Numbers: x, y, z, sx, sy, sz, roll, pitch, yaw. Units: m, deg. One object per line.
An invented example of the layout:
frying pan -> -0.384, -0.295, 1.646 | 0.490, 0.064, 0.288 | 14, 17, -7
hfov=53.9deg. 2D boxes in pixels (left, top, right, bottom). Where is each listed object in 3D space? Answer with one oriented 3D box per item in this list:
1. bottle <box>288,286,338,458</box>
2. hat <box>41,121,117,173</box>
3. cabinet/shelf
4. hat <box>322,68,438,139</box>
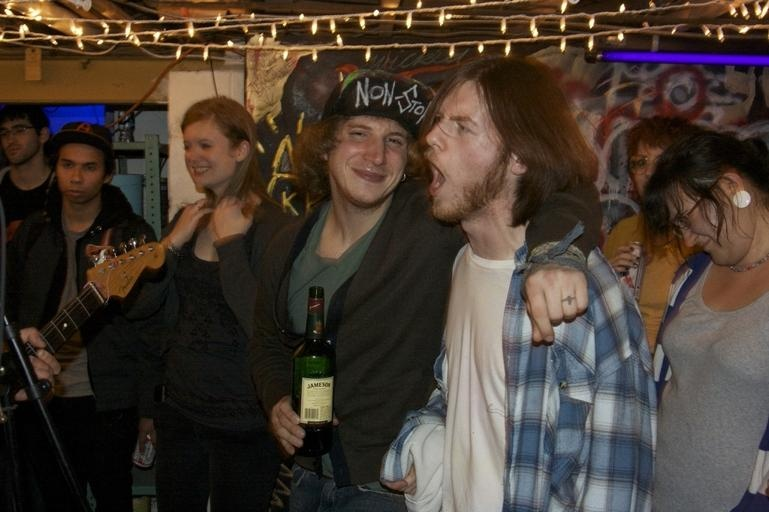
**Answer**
bottle -> -0.313, 0.536, 3.413 | 0.207, 0.816, 0.263 | -1, 7, -11
hat -> -1.942, -0.760, 4.885 | 0.368, 0.256, 0.484 | 9, -23, -19
cabinet/shelf -> -1.569, 0.488, 4.566 | 0.308, 2.901, 0.505 | -1, -7, 12
hat -> -0.038, -0.762, 3.789 | 0.439, 0.219, 0.308 | 18, 15, 6
